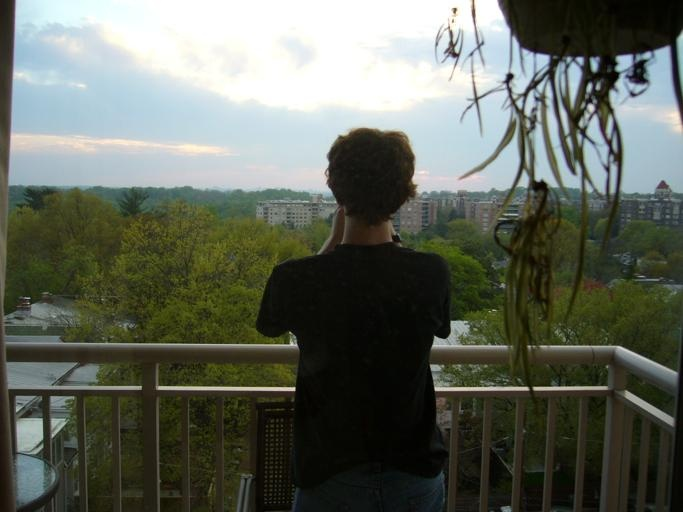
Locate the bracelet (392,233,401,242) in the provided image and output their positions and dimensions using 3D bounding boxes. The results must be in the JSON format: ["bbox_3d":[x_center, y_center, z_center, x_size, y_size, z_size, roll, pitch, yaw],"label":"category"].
[{"bbox_3d":[0.222,-0.072,2.902,0.022,0.038,0.037,-2,-3,2],"label":"bracelet"}]
